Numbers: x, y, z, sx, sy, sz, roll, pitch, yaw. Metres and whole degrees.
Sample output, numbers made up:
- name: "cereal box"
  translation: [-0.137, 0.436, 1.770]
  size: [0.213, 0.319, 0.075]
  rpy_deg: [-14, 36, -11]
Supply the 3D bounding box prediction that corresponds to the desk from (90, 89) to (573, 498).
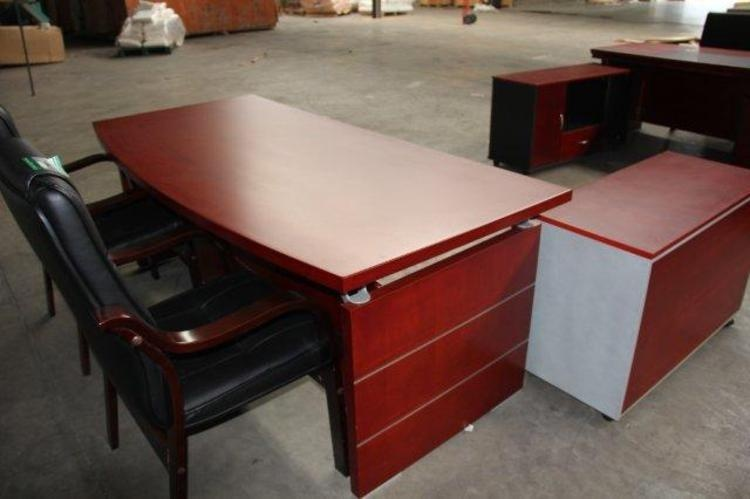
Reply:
- name: "desk"
  translation: [-0.204, 0.231, 2.255]
  size: [0.983, 0.857, 1.894]
  rpy_deg: [-24, 39, -34]
